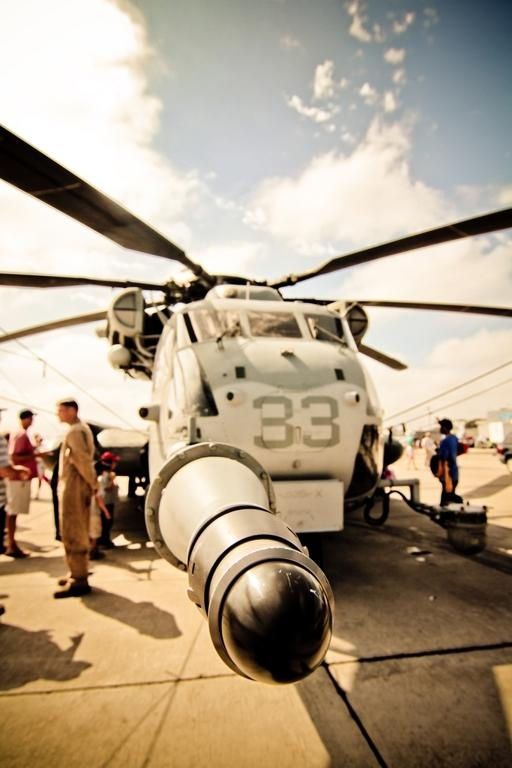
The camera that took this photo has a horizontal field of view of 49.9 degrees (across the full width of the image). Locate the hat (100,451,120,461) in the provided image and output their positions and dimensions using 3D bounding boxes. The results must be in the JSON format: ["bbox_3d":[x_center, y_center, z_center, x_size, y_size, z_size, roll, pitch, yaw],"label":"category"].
[{"bbox_3d":[-1.450,0.725,5.473,0.115,0.059,0.168,2,-2,1],"label":"hat"}]
